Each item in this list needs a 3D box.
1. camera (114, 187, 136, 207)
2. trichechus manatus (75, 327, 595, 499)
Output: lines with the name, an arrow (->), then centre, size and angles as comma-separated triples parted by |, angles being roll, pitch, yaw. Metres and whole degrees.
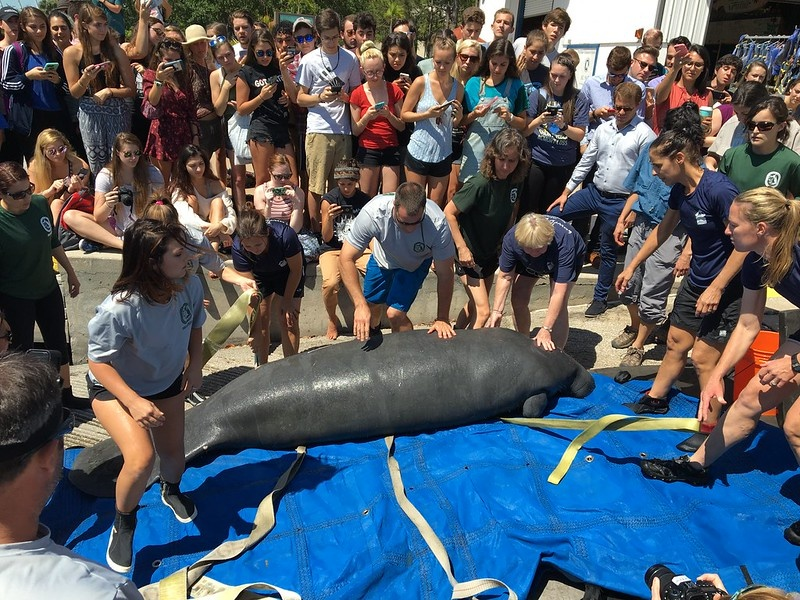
camera -> -2.856, -1.039, 7.743 | 0.137, 0.093, 0.147 | -7, 48, -37
trichechus manatus -> -0.461, 0.967, 6.082 | 2.767, 0.578, 0.739 | -7, 35, -11
